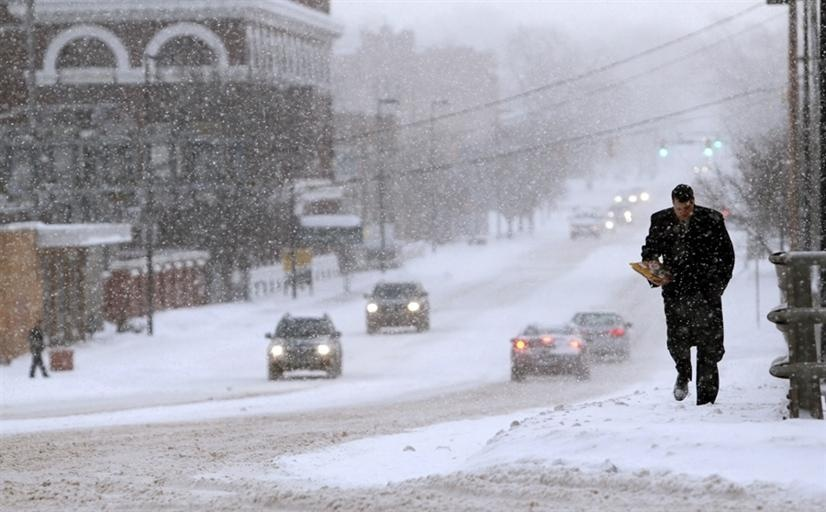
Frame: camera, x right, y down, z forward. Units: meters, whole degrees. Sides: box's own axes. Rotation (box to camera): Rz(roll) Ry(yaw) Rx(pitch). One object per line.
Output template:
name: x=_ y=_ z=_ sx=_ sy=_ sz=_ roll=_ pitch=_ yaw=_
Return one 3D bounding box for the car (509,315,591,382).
car: x=6.487 y=4.469 z=83.514 sx=3.521 sy=2.291 sz=1.395 roll=-2 pitch=10 yaw=7

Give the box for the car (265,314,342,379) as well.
car: x=-5.003 y=4.351 z=84.638 sx=3.508 sy=2.891 sz=1.707 roll=-4 pitch=10 yaw=-6

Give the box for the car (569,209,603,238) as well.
car: x=11.645 y=-2.059 z=119.689 sx=2.157 sy=1.827 sz=1.220 roll=4 pitch=-13 yaw=4
